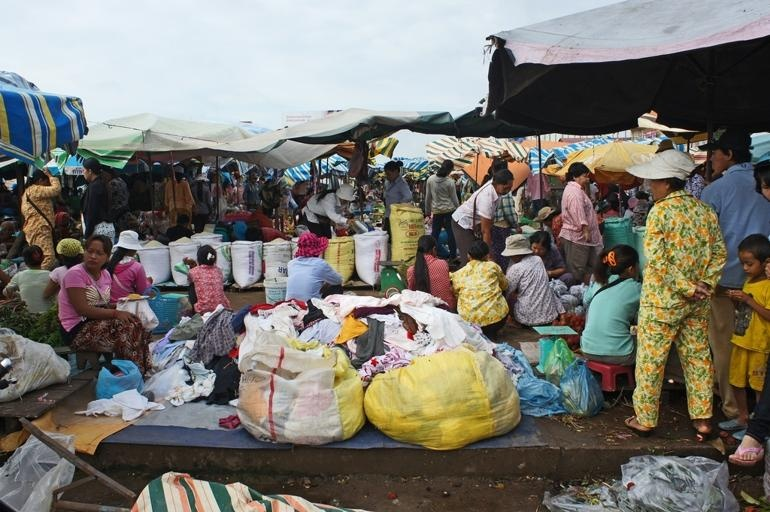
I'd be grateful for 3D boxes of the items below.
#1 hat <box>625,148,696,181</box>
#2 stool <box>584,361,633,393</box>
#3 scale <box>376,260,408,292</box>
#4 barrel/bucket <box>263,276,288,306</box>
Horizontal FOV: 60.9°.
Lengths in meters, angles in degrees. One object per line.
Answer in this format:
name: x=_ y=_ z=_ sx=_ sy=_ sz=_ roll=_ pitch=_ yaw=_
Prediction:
hat: x=2.422 y=-0.800 z=5.783 sx=0.536 sy=0.270 sz=0.248 roll=0 pitch=12 yaw=22
stool: x=2.170 y=1.166 z=6.404 sx=0.365 sy=0.169 sz=0.352 roll=1 pitch=-6 yaw=-34
scale: x=0.090 y=0.318 z=9.444 sx=0.490 sy=0.395 sz=0.361 roll=13 pitch=14 yaw=31
barrel/bucket: x=-1.535 y=0.493 z=9.325 sx=0.439 sy=0.390 sz=0.442 roll=0 pitch=2 yaw=0
